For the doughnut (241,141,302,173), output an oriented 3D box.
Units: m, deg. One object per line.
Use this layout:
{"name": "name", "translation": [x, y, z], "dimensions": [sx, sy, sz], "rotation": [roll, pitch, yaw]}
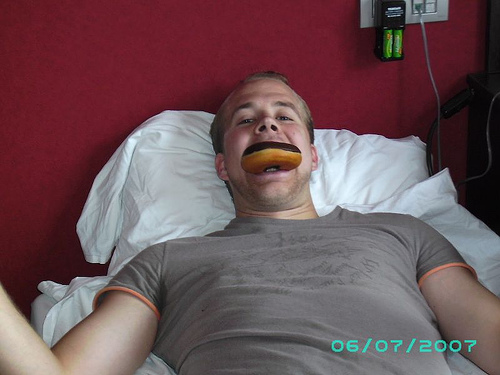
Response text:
{"name": "doughnut", "translation": [0.110, -0.110, 1.682], "dimensions": [0.230, 0.097, 0.226], "rotation": [7, -12, -21]}
